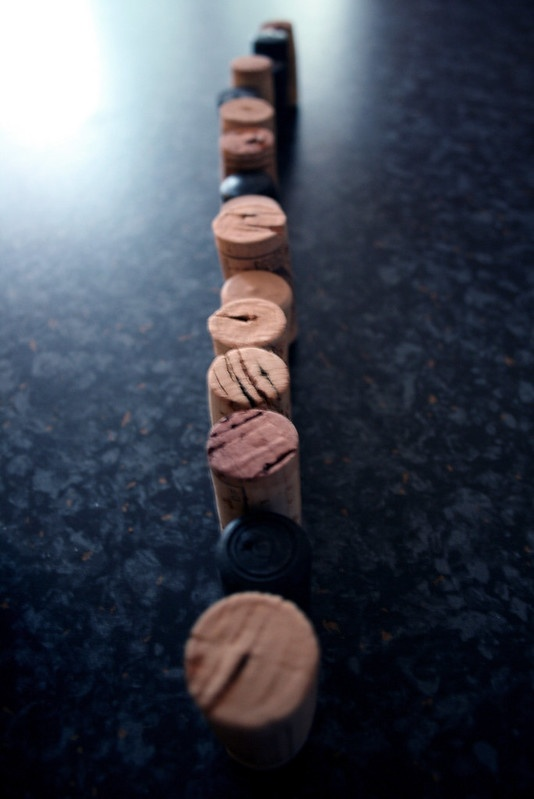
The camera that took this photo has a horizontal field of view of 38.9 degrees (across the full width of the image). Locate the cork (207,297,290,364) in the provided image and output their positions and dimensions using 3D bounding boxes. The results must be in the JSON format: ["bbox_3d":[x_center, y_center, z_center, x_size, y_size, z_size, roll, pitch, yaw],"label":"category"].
[{"bbox_3d":[-0.063,-0.262,2.647,0.242,0.216,0.213,5,63,6],"label":"cork"}]
